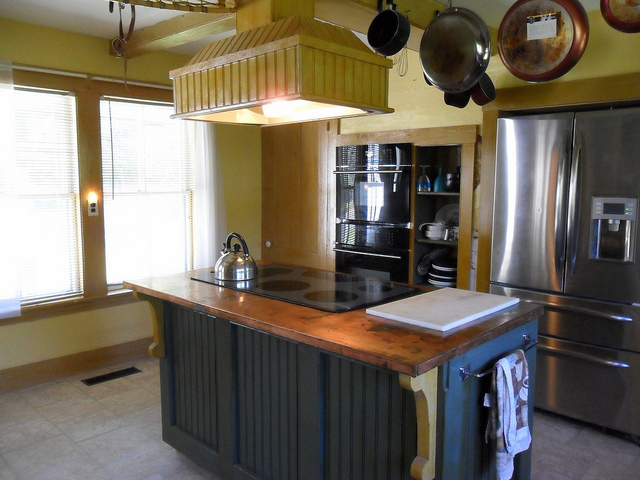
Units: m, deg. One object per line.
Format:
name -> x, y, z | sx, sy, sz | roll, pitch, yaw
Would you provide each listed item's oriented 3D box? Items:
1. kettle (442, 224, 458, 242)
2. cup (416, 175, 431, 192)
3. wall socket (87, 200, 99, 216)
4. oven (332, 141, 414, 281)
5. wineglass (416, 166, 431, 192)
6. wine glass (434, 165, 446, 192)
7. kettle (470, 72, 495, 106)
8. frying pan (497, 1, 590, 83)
kettle -> 1.173, -0.066, 4.469 | 0.125, 0.114, 0.258 | 2, 13, 12
cup -> 0.933, -0.511, 4.450 | 0.128, 0.147, 0.096 | 2, 13, 12
wall socket -> -2.053, -0.297, 4.465 | 0.018, 0.192, 0.135 | 5, 6, 38
oven -> 0.624, -0.214, 4.935 | 0.827, 1.435, 0.723 | 2, 10, 27
wineglass -> 0.947, -0.559, 4.494 | 0.124, 0.224, 0.190 | 4, 13, 21
wine glass -> 1.091, -0.565, 4.485 | 0.100, 0.212, 0.375 | 3, 13, 13
kettle -> 1.044, -0.951, 3.167 | 0.103, 0.188, 0.184 | -7, -28, 30
frying pan -> 1.292, -1.161, 2.874 | 0.506, 0.505, 0.307 | 10, 13, 37
